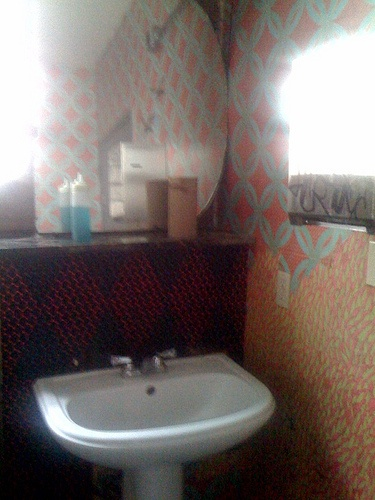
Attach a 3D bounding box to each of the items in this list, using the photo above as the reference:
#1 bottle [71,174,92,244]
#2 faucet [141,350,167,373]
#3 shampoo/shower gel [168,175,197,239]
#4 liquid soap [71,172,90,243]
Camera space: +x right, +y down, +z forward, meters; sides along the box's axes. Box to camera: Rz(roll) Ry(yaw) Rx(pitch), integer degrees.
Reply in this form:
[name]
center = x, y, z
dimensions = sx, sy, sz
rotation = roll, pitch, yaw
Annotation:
[bottle]
center = -0.298, -0.114, 1.119
dimensions = 0.052, 0.180, 0.040
rotation = -4, 11, -31
[faucet]
center = -0.110, 0.324, 1.201
dimensions = 0.070, 0.069, 0.112
rotation = -1, 6, -21
[shampoo/shower gel]
center = -0.015, -0.128, 1.238
dimensions = 0.083, 0.182, 0.029
rotation = -1, 5, -19
[liquid soap]
center = -0.300, -0.118, 1.123
dimensions = 0.049, 0.175, 0.038
rotation = -4, 11, -31
